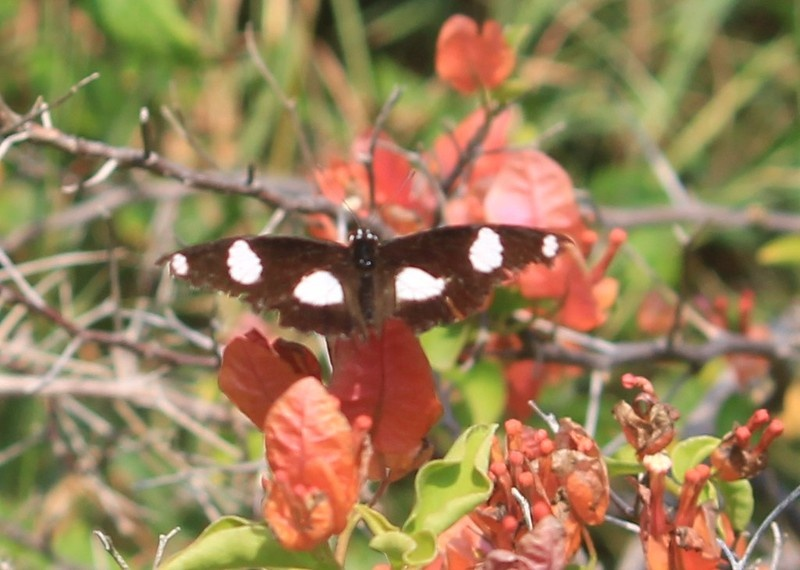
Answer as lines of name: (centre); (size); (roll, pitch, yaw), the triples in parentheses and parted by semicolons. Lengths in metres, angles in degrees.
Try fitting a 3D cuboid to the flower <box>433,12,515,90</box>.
flower: (0.162, -0.477, 2.284); (0.165, 0.123, 0.139); (6, 80, 3)
